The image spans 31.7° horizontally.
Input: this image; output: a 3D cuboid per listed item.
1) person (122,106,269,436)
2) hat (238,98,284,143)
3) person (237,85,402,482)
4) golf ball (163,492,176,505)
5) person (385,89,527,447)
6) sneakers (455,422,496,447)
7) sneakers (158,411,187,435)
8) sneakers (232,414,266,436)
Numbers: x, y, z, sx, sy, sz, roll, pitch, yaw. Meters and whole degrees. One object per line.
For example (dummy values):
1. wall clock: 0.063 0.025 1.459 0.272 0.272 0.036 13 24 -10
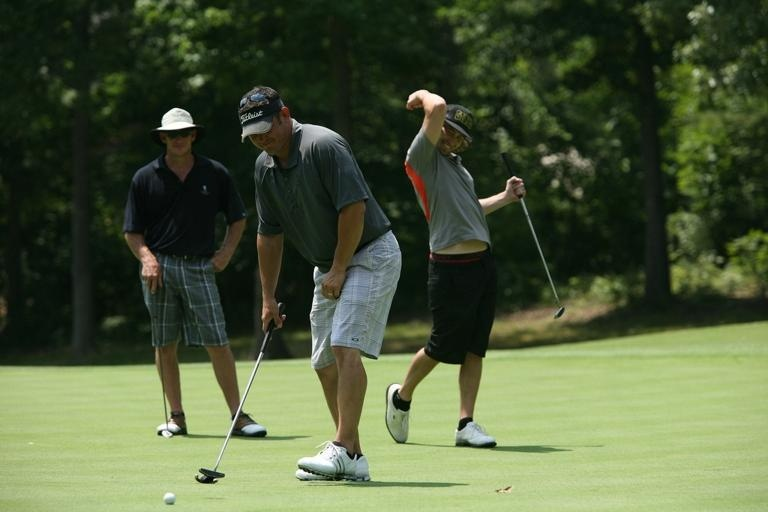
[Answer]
1. person: -1.771 0.169 12.642 1.262 3.025 0.976 -2 4 -2
2. hat: -1.026 -1.198 11.315 0.360 0.447 0.168 1 -3 -1
3. person: -0.528 0.244 11.460 1.303 3.265 0.594 1 -3 0
4. golf ball: -1.714 1.947 10.832 0.096 0.084 0.104 1 -3 0
5. person: 0.612 0.066 12.355 1.030 3.175 1.143 1 -1 -35
6. sneakers: 0.807 1.589 11.960 0.336 0.173 0.178 0 -2 19
7. sneakers: -1.927 1.546 12.363 0.272 0.177 0.149 9 -16 -31
8. sneakers: -1.226 1.565 12.372 0.148 0.158 0.375 3 -5 -40
